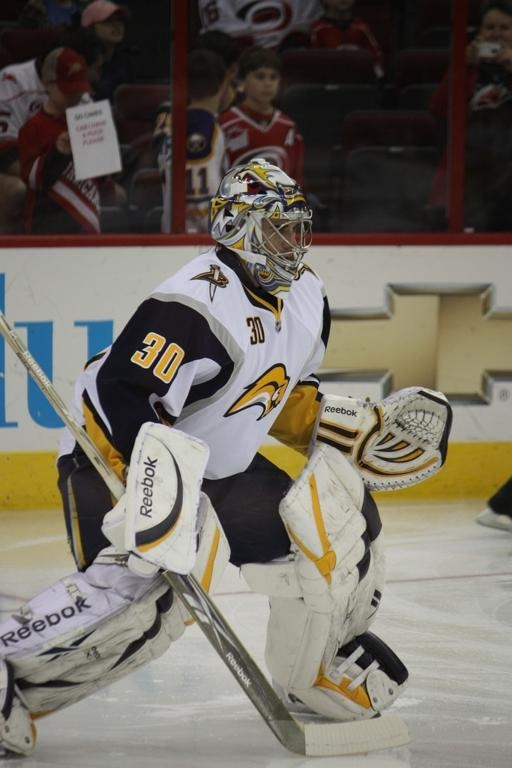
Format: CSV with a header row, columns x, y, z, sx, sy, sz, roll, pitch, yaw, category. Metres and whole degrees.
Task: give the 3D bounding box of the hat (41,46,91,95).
x,y,z,sx,sy,sz,roll,pitch,yaw,category
-0.838,-1.367,3.586,0.144,0.118,0.204,-32,74,-31,hat
